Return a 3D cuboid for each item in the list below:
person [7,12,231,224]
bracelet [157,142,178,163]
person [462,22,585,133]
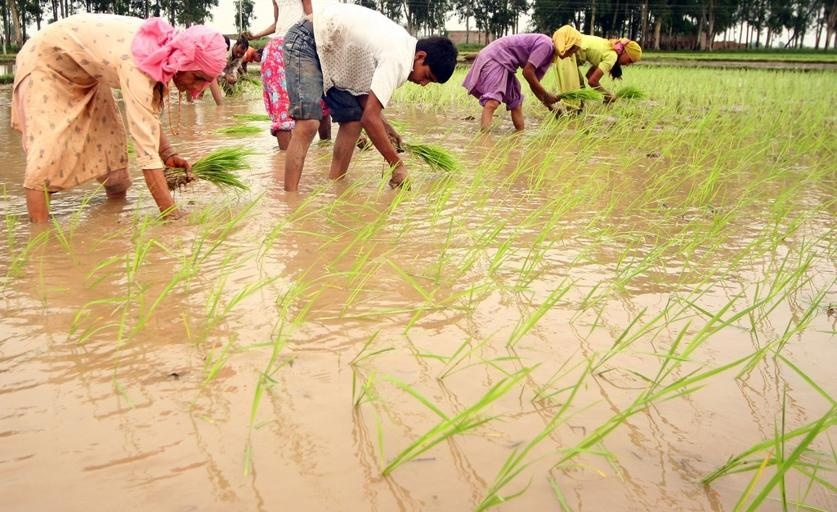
[{"bbox_3d":[-1.929,-0.863,3.761,1.255,1.234,0.617,2,17,-2],"label":"person"},{"bbox_3d":[-1.711,-0.697,4.070,0.059,0.155,0.117,-40,-6,16],"label":"bracelet"},{"bbox_3d":[1.110,-2.014,6.870,1.028,1.072,0.795,-2,17,-13],"label":"person"}]
